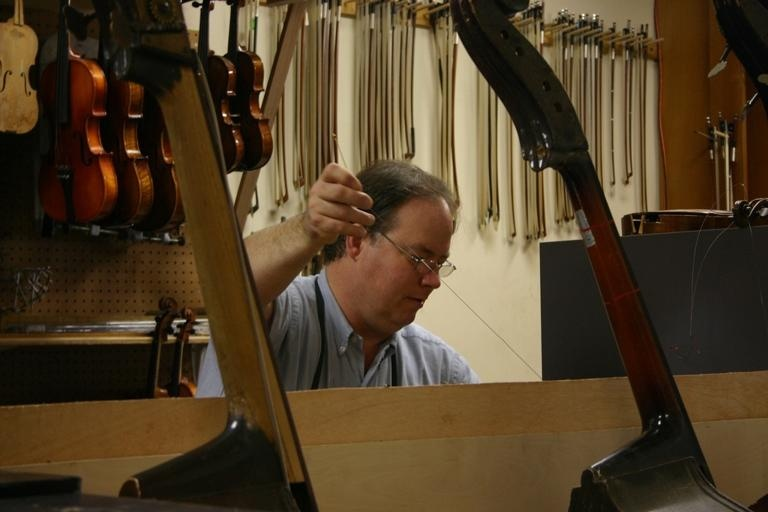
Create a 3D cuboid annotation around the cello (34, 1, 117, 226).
[{"bbox_3d":[-1.136,-0.506,3.028,0.400,0.767,0.186,2,4,45],"label":"cello"}]
